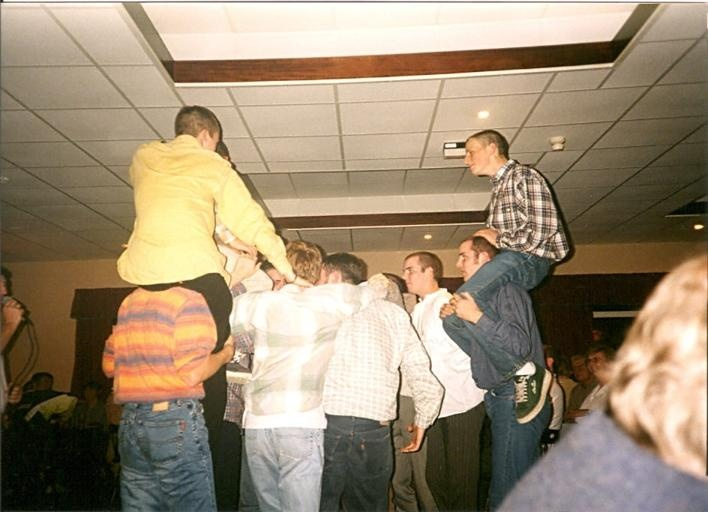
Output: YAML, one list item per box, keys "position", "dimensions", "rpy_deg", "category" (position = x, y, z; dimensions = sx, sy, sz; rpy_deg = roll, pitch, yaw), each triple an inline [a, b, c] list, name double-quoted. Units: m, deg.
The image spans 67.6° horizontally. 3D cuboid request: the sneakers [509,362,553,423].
- position: [1.123, 0.861, 3.435]
  dimensions: [0.221, 0.446, 0.159]
  rpy_deg: [24, -35, 4]
  category: "sneakers"
